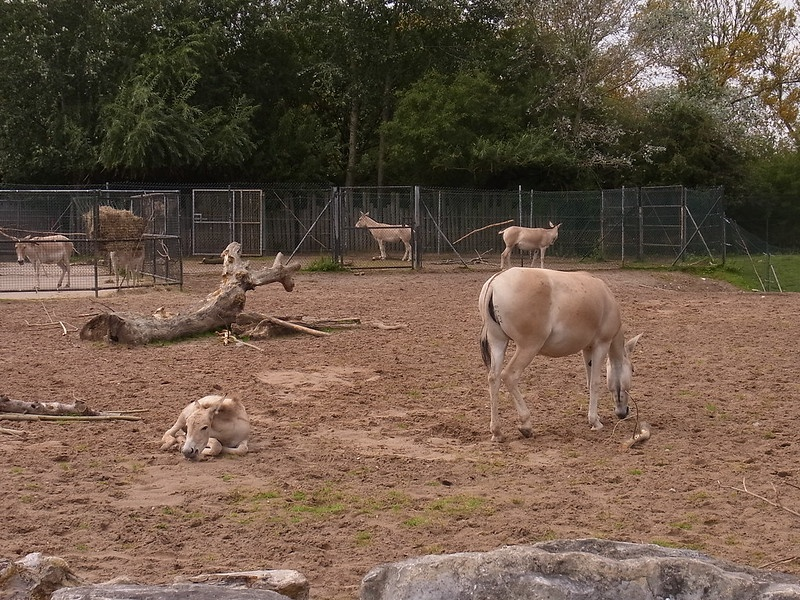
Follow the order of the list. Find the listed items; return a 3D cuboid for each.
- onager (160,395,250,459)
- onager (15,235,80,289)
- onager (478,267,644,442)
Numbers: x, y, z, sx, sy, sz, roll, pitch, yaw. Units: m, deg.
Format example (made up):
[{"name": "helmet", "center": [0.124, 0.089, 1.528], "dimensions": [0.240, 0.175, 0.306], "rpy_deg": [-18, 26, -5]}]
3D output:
[{"name": "onager", "center": [-2.737, 1.771, 15.245], "dimensions": [1.138, 0.940, 2.063], "rpy_deg": [4, 8, -12]}, {"name": "onager", "center": [-9.131, -0.993, 27.369], "dimensions": [1.632, 1.428, 0.746], "rpy_deg": [-3, -1, -42]}, {"name": "onager", "center": [2.528, 0.753, 15.825], "dimensions": [3.042, 2.675, 1.143], "rpy_deg": [1, -2, -33]}]
